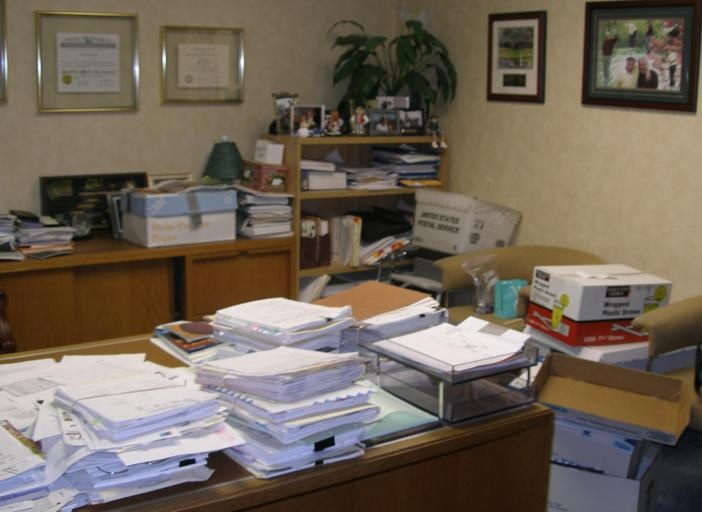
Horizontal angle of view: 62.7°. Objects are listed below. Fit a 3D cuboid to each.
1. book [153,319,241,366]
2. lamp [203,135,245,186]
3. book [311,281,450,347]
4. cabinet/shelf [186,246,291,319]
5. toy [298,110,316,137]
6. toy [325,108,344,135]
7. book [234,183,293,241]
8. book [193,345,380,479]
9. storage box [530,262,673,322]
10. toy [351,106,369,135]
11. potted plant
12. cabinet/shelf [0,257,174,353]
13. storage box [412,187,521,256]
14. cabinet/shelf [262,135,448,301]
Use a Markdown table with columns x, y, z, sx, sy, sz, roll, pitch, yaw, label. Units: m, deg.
| x | y | z | sx | sy | sz | roll | pitch | yaw | label |
| --- | --- | --- | --- | --- | --- | --- | --- | --- | --- |
| -0.563 | 0.300 | 2.010 | 0.194 | 0.044 | 0.193 | -6 | 16 | -40 | book |
| -0.854 | -0.645 | 3.870 | 0.307 | 0.320 | 0.314 | 11 | 15 | 23 | lamp |
| 0.111 | 0.253 | 1.998 | 0.279 | 0.083 | 0.280 | -17 | 17 | -36 | book |
| -0.709 | 0.147 | 3.399 | 0.461 | 0.406 | 0.176 | -4 | 6 | -35 | cabinet/shelf |
| -0.313 | -0.903 | 3.934 | 0.087 | 0.182 | 0.185 | 0 | 10 | 28 | toy |
| -0.133 | -0.933 | 4.082 | 0.117 | 0.173 | 0.162 | -3 | 9 | 4 | toy |
| -0.579 | -0.295 | 3.828 | 0.383 | 0.361 | 0.144 | -5 | 9 | -9 | book |
| -0.181 | 0.354 | 1.513 | 0.306 | 0.178 | 0.338 | -5 | 9 | -32 | book |
| 1.126 | 0.165 | 2.793 | 0.446 | 0.152 | 0.323 | -4 | 12 | -24 | storage box |
| 0.059 | -0.964 | 4.107 | 0.133 | 0.201 | 0.086 | -5 | 9 | -5 | toy |
| 0.286 | -1.394 | 4.306 | 0.989 | 0.821 | 0.970 | 19 | 31 | 28 | potted plant |
| -1.572 | 0.058 | 3.421 | 0.851 | 0.763 | 0.502 | -10 | 19 | -34 | cabinet/shelf |
| 0.811 | -0.293 | 4.036 | 0.548 | 0.318 | 0.534 | -4 | 13 | -40 | storage box |
| 0.009 | -0.267 | 3.984 | 1.204 | 1.043 | 0.396 | -6 | 10 | -33 | cabinet/shelf |
